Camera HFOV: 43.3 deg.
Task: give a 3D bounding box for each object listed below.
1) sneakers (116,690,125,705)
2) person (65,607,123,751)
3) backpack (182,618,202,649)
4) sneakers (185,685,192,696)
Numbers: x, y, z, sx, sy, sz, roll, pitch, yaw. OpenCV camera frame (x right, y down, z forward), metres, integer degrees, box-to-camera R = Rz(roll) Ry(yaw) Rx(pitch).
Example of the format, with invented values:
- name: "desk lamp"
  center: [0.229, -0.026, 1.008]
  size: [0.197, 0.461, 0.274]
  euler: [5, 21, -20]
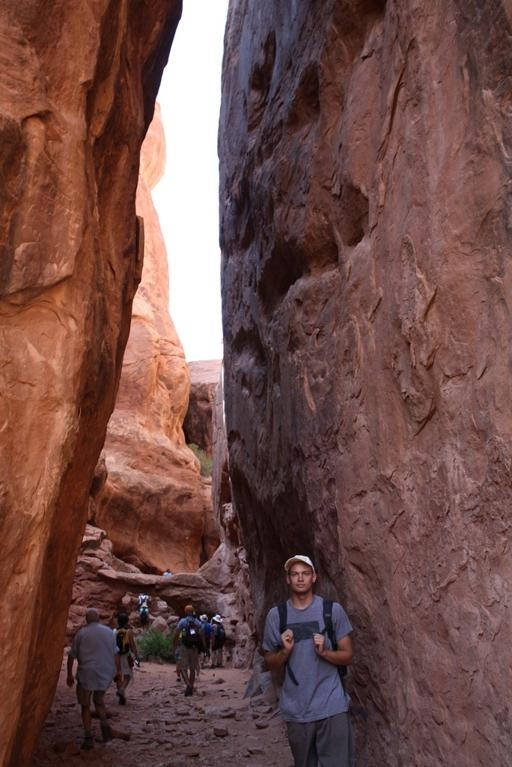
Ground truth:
- name: "sneakers"
  center: [-1.493, 3.479, 7.158]
  size: [0.051, 0.258, 0.070]
  euler: [-3, 5, 29]
- name: "person"
  center: [-1.340, 2.393, 5.299]
  size: [0.400, 1.027, 0.497]
  euler: [5, -11, -19]
- name: "backpack"
  center: [-0.806, 3.172, 8.185]
  size: [0.251, 0.385, 0.476]
  euler: [4, -14, -5]
- name: "sneakers"
  center: [-0.835, 3.810, 8.033]
  size: [0.086, 0.127, 0.147]
  euler: [4, -14, -5]
